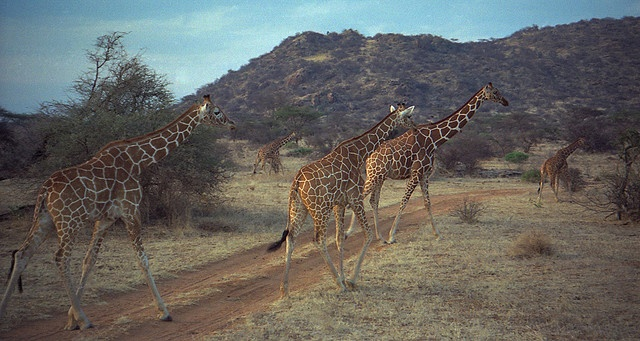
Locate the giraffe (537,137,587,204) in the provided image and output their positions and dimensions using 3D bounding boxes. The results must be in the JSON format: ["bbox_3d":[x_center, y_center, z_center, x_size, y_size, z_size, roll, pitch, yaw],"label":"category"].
[{"bbox_3d":[17.169,-0.163,39.568,2.836,4.287,5.676,0,6,25],"label":"giraffe"}]
